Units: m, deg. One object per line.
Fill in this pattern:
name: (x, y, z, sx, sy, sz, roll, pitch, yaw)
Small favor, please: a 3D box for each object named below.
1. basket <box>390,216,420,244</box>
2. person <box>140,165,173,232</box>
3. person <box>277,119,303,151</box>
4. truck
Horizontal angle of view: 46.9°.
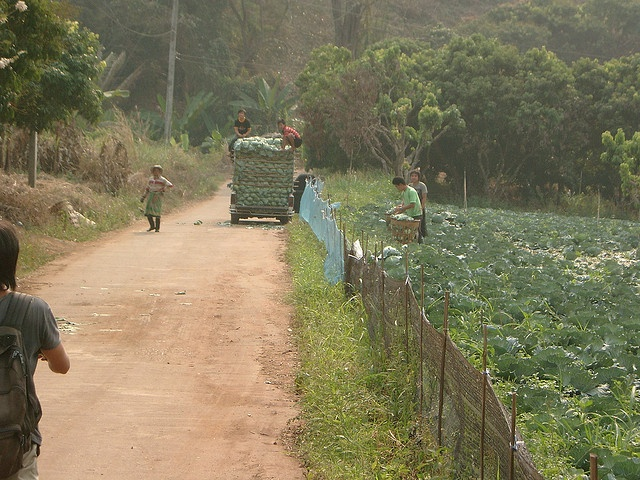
basket: (1.810, -0.203, 15.770, 0.504, 0.441, 0.543, 2, 5, 7)
person: (-4.261, -1.079, 19.223, 0.663, 1.797, 1.079, 1, 13, -14)
person: (-0.922, -3.093, 21.721, 0.652, 0.816, 1.509, 4, 14, -4)
truck: (-1.796, -1.732, 22.473, 1.669, 3.222, 2.442, 1, -7, -5)
